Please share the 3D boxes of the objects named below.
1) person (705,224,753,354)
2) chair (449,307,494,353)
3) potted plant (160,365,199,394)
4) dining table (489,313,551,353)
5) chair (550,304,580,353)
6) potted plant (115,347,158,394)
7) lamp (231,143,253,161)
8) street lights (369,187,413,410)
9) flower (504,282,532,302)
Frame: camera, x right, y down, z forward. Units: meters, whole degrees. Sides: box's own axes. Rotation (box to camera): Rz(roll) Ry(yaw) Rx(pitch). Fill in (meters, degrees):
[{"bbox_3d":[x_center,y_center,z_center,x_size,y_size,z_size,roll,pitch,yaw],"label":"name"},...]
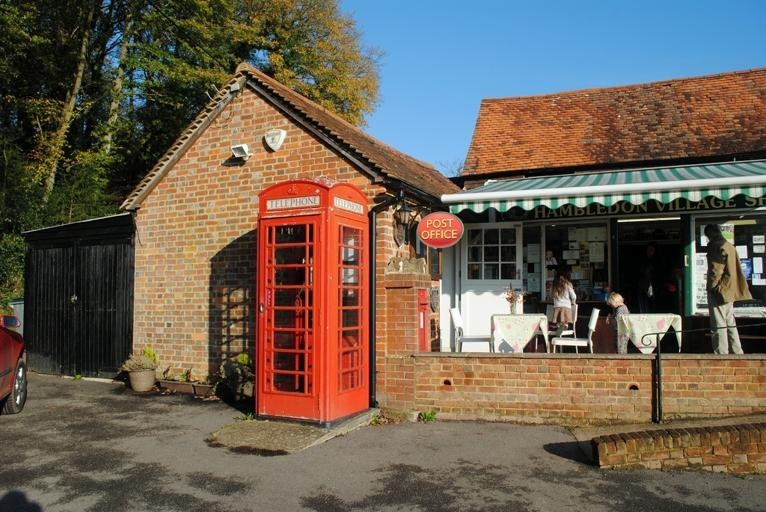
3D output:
[{"bbox_3d":[8.522,0.757,17.685,0.869,3.210,1.010,-4,-8,25],"label":"person"},{"bbox_3d":[2.418,2.052,19.830,1.232,1.627,1.309,-2,-3,11],"label":"chair"},{"bbox_3d":[-5.746,3.407,19.736,1.480,0.780,0.648,-6,-9,35],"label":"potted plant"},{"bbox_3d":[3.500,1.977,18.560,1.517,1.031,1.140,-2,8,0],"label":"dining table"},{"bbox_3d":[4.655,1.861,18.491,0.734,1.161,0.767,-15,8,12],"label":"chair"},{"bbox_3d":[-6.969,3.225,20.040,1.123,1.125,0.938,2,-6,-25],"label":"potted plant"},{"bbox_3d":[-3.974,-2.952,19.663,0.503,0.453,0.475,4,-9,33],"label":"lamp"},{"bbox_3d":[0.027,1.013,17.827,0.778,5.473,0.396,0,-7,-2],"label":"street lights"},{"bbox_3d":[3.874,1.056,20.691,0.649,0.557,0.596,0,1,-20],"label":"flower"}]
